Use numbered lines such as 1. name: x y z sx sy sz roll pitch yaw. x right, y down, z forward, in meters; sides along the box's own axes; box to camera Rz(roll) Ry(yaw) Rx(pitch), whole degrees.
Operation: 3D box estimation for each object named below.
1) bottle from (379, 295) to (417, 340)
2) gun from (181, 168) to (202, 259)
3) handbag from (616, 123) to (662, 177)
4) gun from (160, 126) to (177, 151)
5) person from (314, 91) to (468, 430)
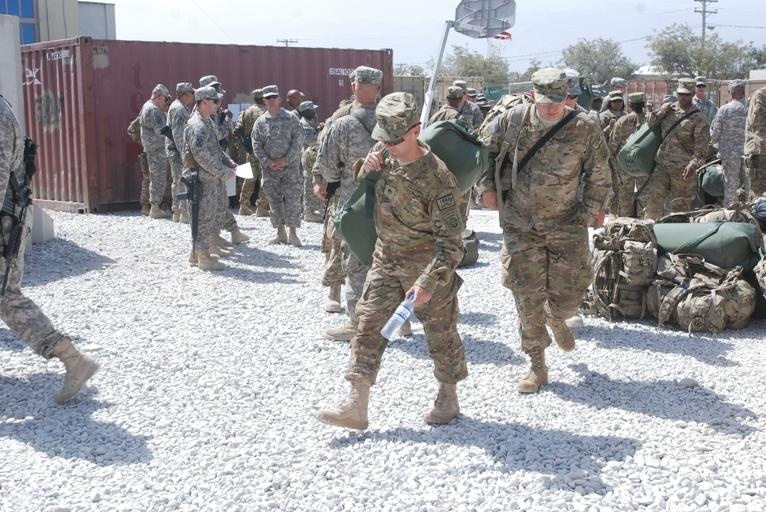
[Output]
1. bottle: 0.109 0.378 4.167 0.119 0.243 0.352 7 14 14
2. gun: -2.375 -0.470 8.330 0.221 1.212 0.425 -5 16 -30
3. handbag: 3.547 -1.456 9.241 0.451 0.623 0.853 7 44 44
4. gun: -3.357 -1.863 10.588 0.192 0.395 0.451 -9 18 -40
5. person: 0.186 0.085 4.545 0.883 2.301 0.782 5 14 7
